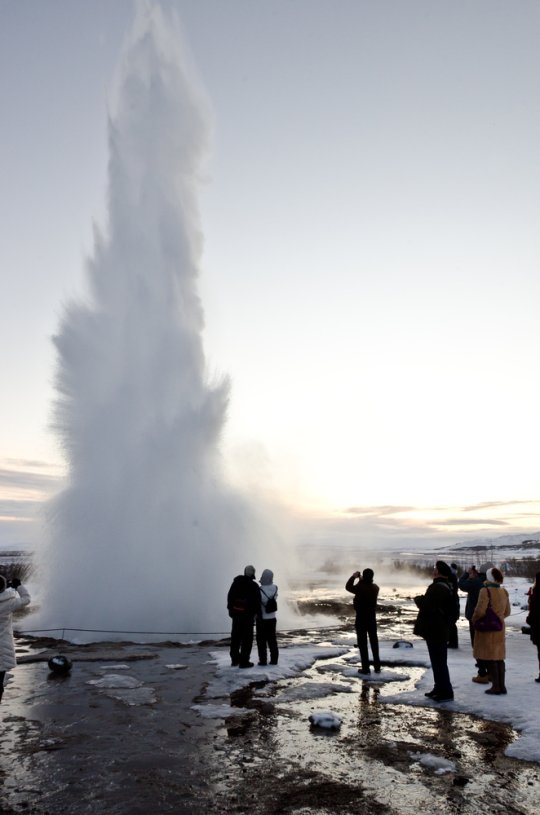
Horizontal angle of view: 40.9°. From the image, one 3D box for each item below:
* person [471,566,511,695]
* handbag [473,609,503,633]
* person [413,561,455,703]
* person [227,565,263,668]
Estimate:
[{"bbox_3d":[3.171,3.215,10.426,0.602,1.761,0.430,9,-13,-41],"label":"person"},{"bbox_3d":[3.106,3.022,10.283,0.351,0.329,0.136,1,-9,7],"label":"handbag"},{"bbox_3d":[2.341,3.160,10.294,0.570,1.907,0.577,-2,-10,12],"label":"person"},{"bbox_3d":[-0.463,3.714,12.925,0.555,1.735,0.675,0,-10,-3],"label":"person"}]
